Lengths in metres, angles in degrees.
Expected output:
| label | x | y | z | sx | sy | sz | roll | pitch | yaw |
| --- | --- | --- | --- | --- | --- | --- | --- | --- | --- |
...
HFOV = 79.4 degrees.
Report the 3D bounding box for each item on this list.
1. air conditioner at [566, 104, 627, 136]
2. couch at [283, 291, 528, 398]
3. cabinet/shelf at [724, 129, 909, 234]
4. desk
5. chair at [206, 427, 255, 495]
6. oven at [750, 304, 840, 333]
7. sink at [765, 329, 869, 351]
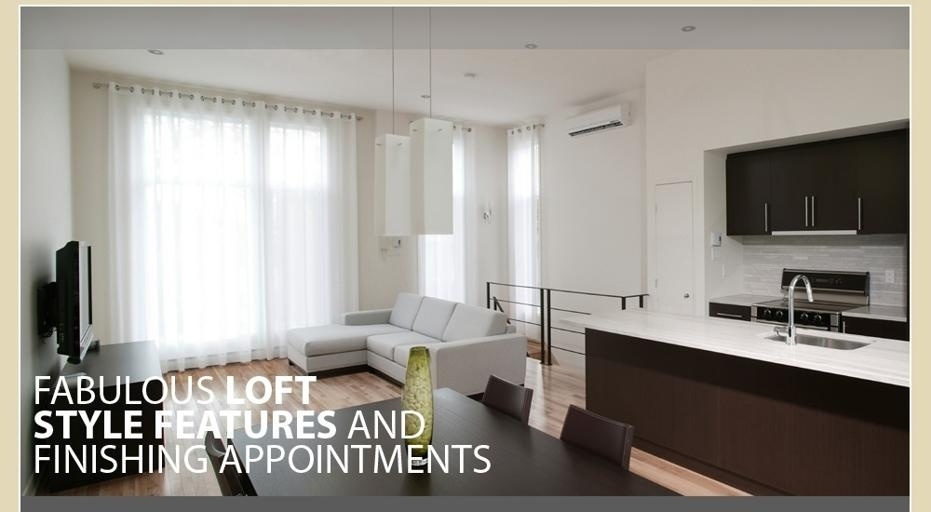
| label | x | y | z | sx | sy | sz | roll | pitch | yaw |
| --- | --- | --- | --- | --- | --- | --- | --- | --- | --- |
| air conditioner | 1.848 | -1.946 | 7.948 | 0.251 | 0.288 | 1.105 | -14 | 9 | -28 |
| couch | -0.683 | 1.079 | 7.039 | 2.789 | 1.019 | 1.362 | 0 | 2 | 27 |
| cabinet/shelf | 3.786 | -0.818 | 5.904 | 1.472 | 0.615 | 0.467 | 0 | -1 | 43 |
| desk | -0.226 | 1.375 | 3.960 | 2.787 | 0.396 | 0.742 | -1 | 2 | 2 |
| chair | -1.607 | 1.399 | 3.792 | 0.269 | 0.389 | 0.461 | -2 | 2 | -29 |
| oven | 3.554 | 0.638 | 5.921 | 0.581 | 0.367 | 0.329 | 0 | 2 | 38 |
| sink | 2.988 | 0.708 | 4.820 | 0.821 | 0.176 | 0.436 | -1 | 2 | -1 |
